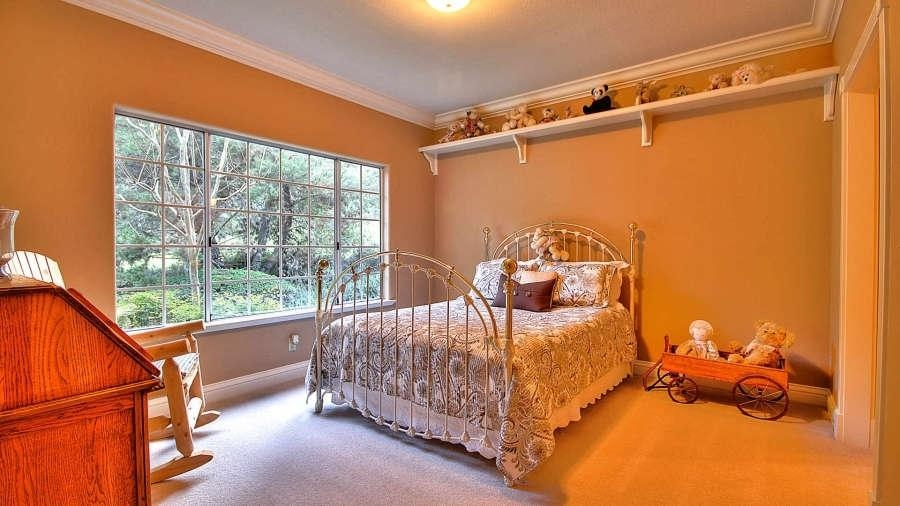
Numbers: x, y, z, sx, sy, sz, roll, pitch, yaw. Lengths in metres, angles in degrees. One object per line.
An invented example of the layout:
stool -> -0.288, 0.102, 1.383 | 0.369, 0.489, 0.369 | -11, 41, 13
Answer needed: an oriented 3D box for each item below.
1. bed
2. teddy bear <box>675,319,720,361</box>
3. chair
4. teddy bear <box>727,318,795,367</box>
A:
bed -> 0.479, 0.873, 5.549 | 2.588, 1.872, 2.932 | -2, -3, 41
teddy bear -> 2.526, 0.894, 5.374 | 0.416, 0.388, 0.221 | 1, -2, 30
chair -> -2.400, 1.251, 4.689 | 0.637, 1.048, 0.845 | -4, 2, -24
teddy bear -> 2.991, 0.891, 5.124 | 0.562, 0.404, 0.304 | -2, 2, 22
